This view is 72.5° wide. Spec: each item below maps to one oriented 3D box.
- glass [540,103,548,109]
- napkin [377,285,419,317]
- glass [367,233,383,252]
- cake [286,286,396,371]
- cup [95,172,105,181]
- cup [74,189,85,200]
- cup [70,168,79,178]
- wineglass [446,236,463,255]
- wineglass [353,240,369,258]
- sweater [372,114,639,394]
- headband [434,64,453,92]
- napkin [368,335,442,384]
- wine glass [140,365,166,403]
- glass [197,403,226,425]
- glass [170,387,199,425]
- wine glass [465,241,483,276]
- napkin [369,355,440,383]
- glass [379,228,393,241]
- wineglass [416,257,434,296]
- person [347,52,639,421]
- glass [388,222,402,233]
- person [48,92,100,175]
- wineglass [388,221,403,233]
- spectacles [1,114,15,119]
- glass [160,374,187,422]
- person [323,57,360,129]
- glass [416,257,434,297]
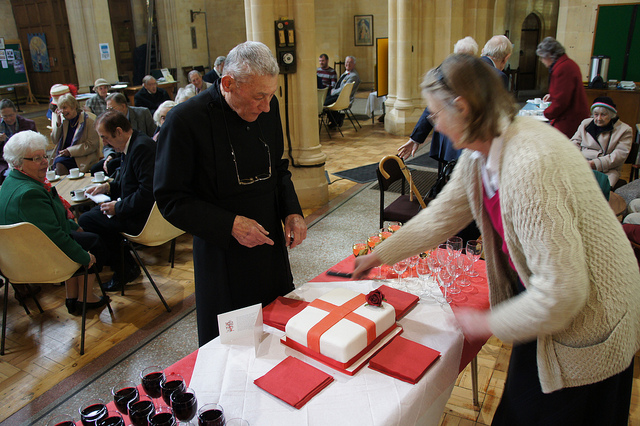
[{"bbox_3d":[3.446,-1.643,6.738,0.094,0.086,0.110,-3,20,6],"label":"glass"},{"bbox_3d":[0.401,0.470,2.352,0.144,0.023,0.155,18,40,33],"label":"napkin"},{"bbox_3d":[0.358,0.220,2.844,0.112,0.135,0.138,-1,19,1],"label":"glass"},{"bbox_3d":[0.103,0.456,2.039,0.364,0.126,0.356,18,37,40],"label":"cake"},{"bbox_3d":[-2.440,-0.399,4.816,0.064,0.069,0.089,6,4,23],"label":"cup"},{"bbox_3d":[-2.488,-0.185,4.533,0.087,0.085,0.111,0,3,3],"label":"cup"},{"bbox_3d":[-2.847,-0.456,5.092,0.084,0.099,0.088,3,24,-1],"label":"cup"},{"bbox_3d":[0.772,0.192,2.529,0.101,0.117,0.106,-1,8,3],"label":"wineglass"},{"bbox_3d":[0.268,0.241,2.921,0.120,0.142,0.122,0,10,0],"label":"wineglass"},{"bbox_3d":[0.837,0.158,1.837,0.513,1.075,0.906,-22,28,-40],"label":"sweater"},{"bbox_3d":[0.472,-0.524,1.700,0.069,0.091,0.035,-13,-10,-28],"label":"headband"},{"bbox_3d":[0.379,0.608,2.021,0.350,0.106,0.435,5,17,-2],"label":"napkin"},{"bbox_3d":[-0.737,0.751,1.935,0.090,0.099,0.108,-15,25,-28],"label":"wine glass"},{"bbox_3d":[-0.434,0.799,1.730,0.078,0.095,0.082,0,33,5],"label":"glass"},{"bbox_3d":[-0.556,0.788,1.770,0.085,0.143,0.094,-6,37,-4],"label":"glass"},{"bbox_3d":[0.909,0.271,2.593,0.103,0.205,0.106,-8,21,-28],"label":"wine glass"},{"bbox_3d":[0.373,0.701,1.950,0.240,0.047,0.278,2,14,9],"label":"napkin"},{"bbox_3d":[0.433,0.149,2.893,0.070,0.067,0.082,-1,16,1],"label":"glass"},{"bbox_3d":[0.610,0.373,2.585,0.123,0.221,0.128,0,14,17],"label":"wineglass"},{"bbox_3d":[0.812,0.176,1.841,0.507,1.598,0.986,-21,28,-40],"label":"person"},{"bbox_3d":[0.486,0.086,2.876,0.095,0.110,0.101,1,6,17],"label":"glass"},{"bbox_3d":[-3.526,-0.893,6.239,0.696,1.466,0.709,0,14,-29],"label":"person"},{"bbox_3d":[0.480,0.095,2.813,0.048,0.052,0.049,-17,25,-36],"label":"wineglass"},{"bbox_3d":[-4.688,-1.437,6.545,0.151,0.058,0.073,-6,22,-8],"label":"spectacles"},{"bbox_3d":[-0.609,0.770,1.805,0.092,0.157,0.100,-7,24,0],"label":"glass"},{"bbox_3d":[0.436,-2.869,10.685,0.927,1.924,0.650,3,14,-23],"label":"person"},{"bbox_3d":[0.607,0.383,2.582,0.106,0.231,0.110,-1,-8,-10],"label":"glass"}]
